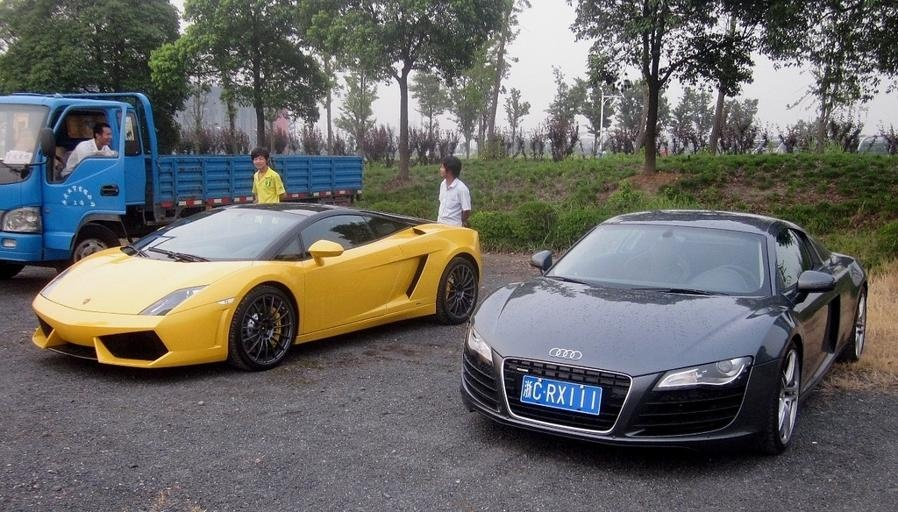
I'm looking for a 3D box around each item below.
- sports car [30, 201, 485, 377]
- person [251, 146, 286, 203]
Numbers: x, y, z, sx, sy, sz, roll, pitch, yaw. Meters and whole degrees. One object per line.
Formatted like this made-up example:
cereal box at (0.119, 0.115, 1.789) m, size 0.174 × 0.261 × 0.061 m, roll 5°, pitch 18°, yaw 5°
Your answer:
sports car at (-2.522, 0.305, 8.257) m, size 5.485 × 2.039 × 1.898 m, roll -5°, pitch 10°, yaw -35°
person at (-3.379, -1.522, 10.982) m, size 0.559 × 1.008 × 0.620 m, roll -2°, pitch 9°, yaw -13°
